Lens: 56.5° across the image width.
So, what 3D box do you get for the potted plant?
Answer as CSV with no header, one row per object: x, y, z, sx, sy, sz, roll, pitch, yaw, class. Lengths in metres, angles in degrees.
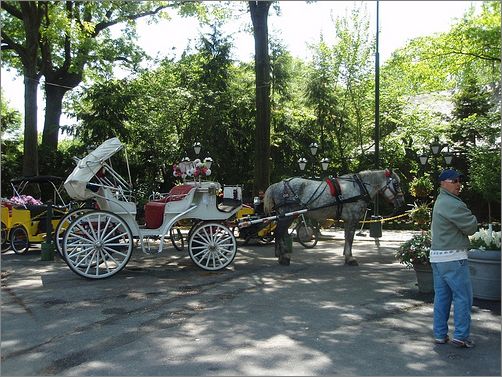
3.560,1.570,10.117,0.935,1.156,0.866,-2,4,2,potted plant

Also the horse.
2.427,0.825,13.886,4.282,2.684,1.476,1,-7,-5,horse

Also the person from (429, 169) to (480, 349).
3.278,1.084,7.605,0.674,2.804,0.810,1,4,13,person

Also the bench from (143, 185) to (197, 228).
-2.251,0.427,12.550,1.237,0.987,0.909,-6,9,-41,bench
